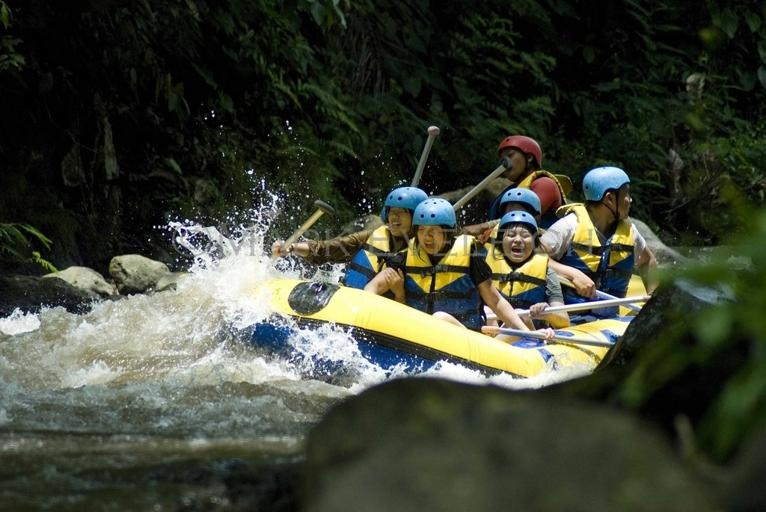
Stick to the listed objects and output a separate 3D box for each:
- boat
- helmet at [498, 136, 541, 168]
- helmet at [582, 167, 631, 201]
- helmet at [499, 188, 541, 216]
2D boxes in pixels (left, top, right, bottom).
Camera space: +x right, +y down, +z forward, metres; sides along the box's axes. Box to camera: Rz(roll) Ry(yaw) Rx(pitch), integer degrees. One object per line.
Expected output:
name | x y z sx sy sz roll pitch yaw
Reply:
boat | 0.337 0.660 6.587 2.328 0.541 1.281 4 8 -28
helmet | 1.458 -1.116 8.634 0.383 0.244 0.308 25 -8 -15
helmet | 2.055 -0.687 7.611 0.396 0.335 0.349 0 17 -14
helmet | 1.288 -0.496 7.618 0.312 0.254 0.231 34 -26 -34
